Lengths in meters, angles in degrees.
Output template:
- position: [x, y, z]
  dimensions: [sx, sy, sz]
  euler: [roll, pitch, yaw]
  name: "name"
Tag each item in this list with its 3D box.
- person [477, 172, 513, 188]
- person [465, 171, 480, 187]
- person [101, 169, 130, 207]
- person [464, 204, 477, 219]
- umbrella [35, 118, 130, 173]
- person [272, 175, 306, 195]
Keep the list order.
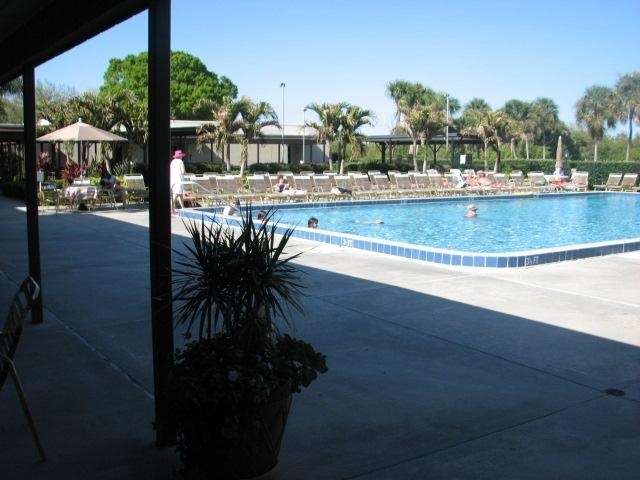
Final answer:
- position: [8.144, -2.699, 23.325]
  dimensions: [1.072, 0.610, 1.614]
  euler: [3, 13, 9]
  name: "person"
- position: [6.913, -2.720, 22.847]
  dimensions: [0.765, 0.385, 1.414]
  euler: [3, 36, 15]
  name: "person"
- position: [-6.233, -1.525, 15.043]
  dimensions: [0.578, 1.030, 2.239]
  euler: [-3, 7, -25]
  name: "person"
- position: [4.714, -0.880, 15.734]
  dimensions: [0.365, 0.385, 1.048]
  euler: [2, 7, 17]
  name: "person"
- position: [-7.583, -3.346, 15.906]
  dimensions: [2.419, 1.944, 2.594]
  euler: [8, 13, 25]
  name: "umbrella"
- position: [-1.213, -1.915, 17.652]
  dimensions: [1.027, 0.715, 1.346]
  euler: [-4, 8, -30]
  name: "person"
